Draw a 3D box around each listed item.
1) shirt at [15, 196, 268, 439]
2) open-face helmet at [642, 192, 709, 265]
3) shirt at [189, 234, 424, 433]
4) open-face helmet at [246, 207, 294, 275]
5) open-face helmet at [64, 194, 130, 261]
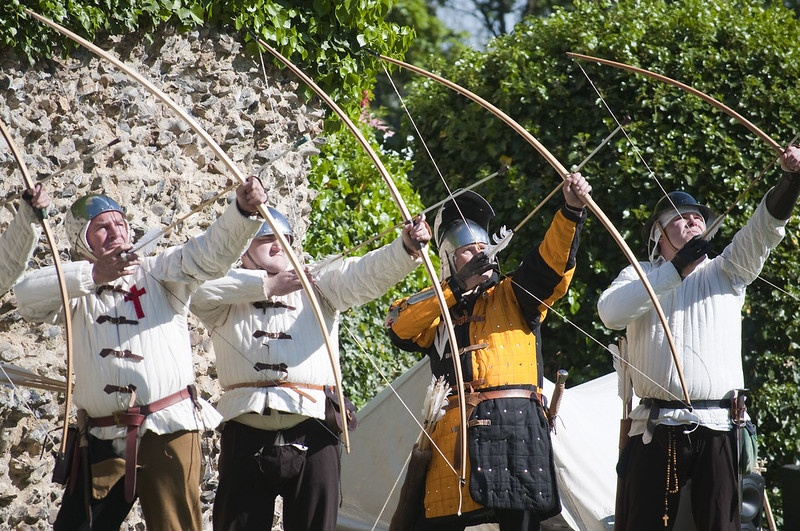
[{"bbox_3d":[-1.638,0.338,9.301,1.696,1.464,0.589,-11,-19,13],"label":"shirt"},{"bbox_3d":[1.854,-0.216,9.920,0.487,0.221,0.472,-13,-29,-8],"label":"open-face helmet"},{"bbox_3d":[-0.663,0.469,9.731,1.495,0.774,0.478,-1,-22,0],"label":"shirt"},{"bbox_3d":[-0.861,-0.129,9.598,0.358,0.422,0.403,-3,7,-37],"label":"open-face helmet"},{"bbox_3d":[-1.993,-0.245,9.285,0.409,0.466,0.372,5,6,27],"label":"open-face helmet"}]
